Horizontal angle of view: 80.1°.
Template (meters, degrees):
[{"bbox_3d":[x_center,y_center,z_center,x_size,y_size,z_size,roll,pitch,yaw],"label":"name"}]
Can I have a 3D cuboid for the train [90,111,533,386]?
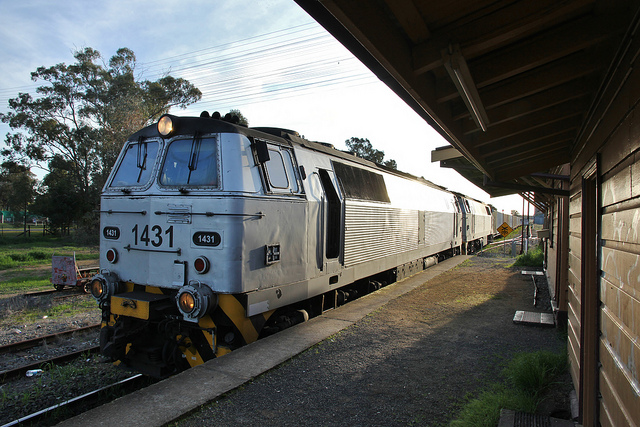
[{"bbox_3d":[2.902,0.618,17.534,4.033,5.468,25.887,-2,-2,29],"label":"train"}]
